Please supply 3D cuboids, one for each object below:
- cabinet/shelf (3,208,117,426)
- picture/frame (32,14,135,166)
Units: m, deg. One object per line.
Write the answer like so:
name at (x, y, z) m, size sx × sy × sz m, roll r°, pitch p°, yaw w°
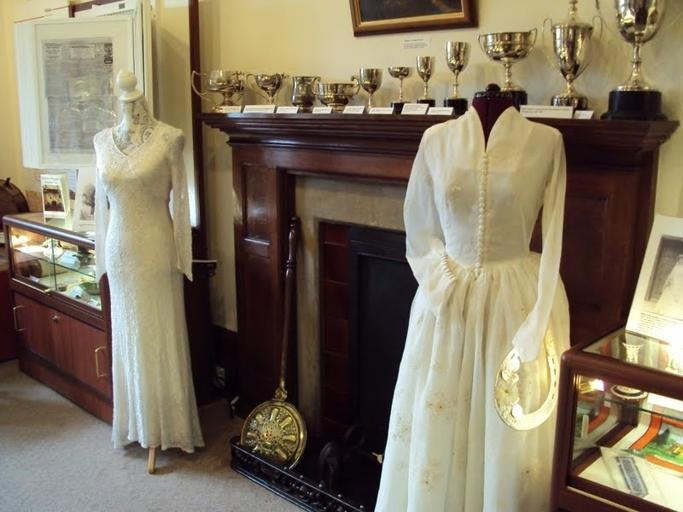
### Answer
cabinet/shelf at (-1.682, 0.370, 3.555) m, size 0.958 × 0.993 × 0.391 m, roll 15°, pitch 20°, yaw 40°
picture/frame at (-1.518, -0.944, 3.431) m, size 0.729 × 0.848 × 0.168 m, roll 6°, pitch 17°, yaw 22°
